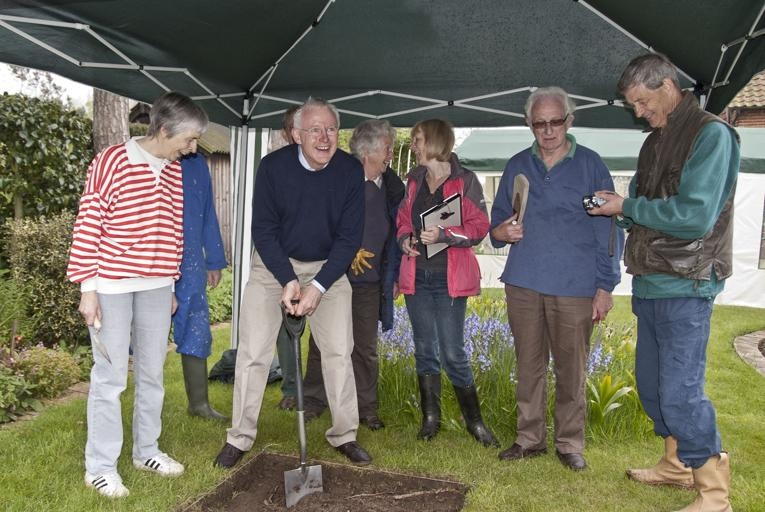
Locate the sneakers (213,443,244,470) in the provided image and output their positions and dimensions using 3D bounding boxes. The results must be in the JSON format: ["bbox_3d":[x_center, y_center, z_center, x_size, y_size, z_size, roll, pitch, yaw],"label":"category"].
[{"bbox_3d":[-1.309,1.704,5.454,0.133,0.108,0.274,33,20,8],"label":"sneakers"}]

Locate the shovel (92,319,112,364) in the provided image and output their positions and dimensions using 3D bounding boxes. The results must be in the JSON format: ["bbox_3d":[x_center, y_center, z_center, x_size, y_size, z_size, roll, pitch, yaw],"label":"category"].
[{"bbox_3d":[-2.217,0.667,5.037,0.086,0.337,0.086,-21,6,-22],"label":"shovel"}]

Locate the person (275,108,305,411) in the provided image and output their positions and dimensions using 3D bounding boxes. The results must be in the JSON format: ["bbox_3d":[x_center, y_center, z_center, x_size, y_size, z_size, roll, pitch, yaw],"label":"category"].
[{"bbox_3d":[-0.995,0.200,6.924,0.200,2.728,0.726,2,-2,-1],"label":"person"}]

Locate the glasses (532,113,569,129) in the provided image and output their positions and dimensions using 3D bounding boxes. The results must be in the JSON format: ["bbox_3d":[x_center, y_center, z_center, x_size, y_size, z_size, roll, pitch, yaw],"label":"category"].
[{"bbox_3d":[1.414,-1.152,5.522,0.268,0.112,0.080,4,5,22],"label":"glasses"}]

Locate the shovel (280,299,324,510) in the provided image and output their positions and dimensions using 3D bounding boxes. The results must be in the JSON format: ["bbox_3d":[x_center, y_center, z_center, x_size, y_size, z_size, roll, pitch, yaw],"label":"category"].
[{"bbox_3d":[-0.666,1.224,5.330,0.339,1.459,0.663,1,5,-9],"label":"shovel"}]

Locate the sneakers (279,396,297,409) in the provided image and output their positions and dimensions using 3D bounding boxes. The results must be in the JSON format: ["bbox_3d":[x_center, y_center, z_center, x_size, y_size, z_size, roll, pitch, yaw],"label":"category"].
[{"bbox_3d":[-1.000,1.549,6.733,0.149,0.128,0.301,1,-7,0],"label":"sneakers"}]

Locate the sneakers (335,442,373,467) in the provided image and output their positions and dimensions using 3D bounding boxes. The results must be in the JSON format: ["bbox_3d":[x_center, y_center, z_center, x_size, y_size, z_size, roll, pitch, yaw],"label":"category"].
[{"bbox_3d":[-0.253,1.701,5.631,0.341,0.145,0.129,12,17,34],"label":"sneakers"}]

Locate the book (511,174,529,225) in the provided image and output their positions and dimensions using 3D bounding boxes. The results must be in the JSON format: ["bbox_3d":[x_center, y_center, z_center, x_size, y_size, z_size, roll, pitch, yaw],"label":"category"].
[{"bbox_3d":[1.166,-0.480,5.665,0.053,0.450,0.215,-1,-18,37],"label":"book"}]

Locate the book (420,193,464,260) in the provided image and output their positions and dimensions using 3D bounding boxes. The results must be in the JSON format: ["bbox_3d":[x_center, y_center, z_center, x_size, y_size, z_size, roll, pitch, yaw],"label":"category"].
[{"bbox_3d":[0.551,-0.250,5.872,0.436,0.452,0.059,-34,29,-17],"label":"book"}]

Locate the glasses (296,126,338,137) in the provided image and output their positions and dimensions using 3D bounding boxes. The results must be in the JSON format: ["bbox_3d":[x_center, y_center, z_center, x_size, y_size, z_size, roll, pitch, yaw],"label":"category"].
[{"bbox_3d":[-0.552,-1.042,5.388,0.306,0.090,0.098,1,5,-11],"label":"glasses"}]

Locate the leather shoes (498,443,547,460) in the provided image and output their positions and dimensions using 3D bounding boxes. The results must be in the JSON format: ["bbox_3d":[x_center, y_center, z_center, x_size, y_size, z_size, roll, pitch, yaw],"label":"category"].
[{"bbox_3d":[1.247,1.735,5.787,0.440,0.187,0.153,2,-4,-13],"label":"leather shoes"}]

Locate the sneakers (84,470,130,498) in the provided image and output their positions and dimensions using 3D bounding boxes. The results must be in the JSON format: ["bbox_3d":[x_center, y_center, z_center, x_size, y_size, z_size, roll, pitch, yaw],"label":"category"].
[{"bbox_3d":[-2.194,1.813,5.086,0.314,0.146,0.165,5,3,14],"label":"sneakers"}]
